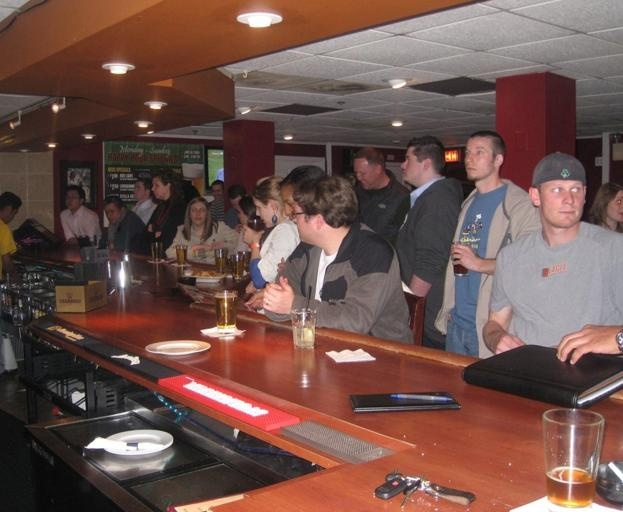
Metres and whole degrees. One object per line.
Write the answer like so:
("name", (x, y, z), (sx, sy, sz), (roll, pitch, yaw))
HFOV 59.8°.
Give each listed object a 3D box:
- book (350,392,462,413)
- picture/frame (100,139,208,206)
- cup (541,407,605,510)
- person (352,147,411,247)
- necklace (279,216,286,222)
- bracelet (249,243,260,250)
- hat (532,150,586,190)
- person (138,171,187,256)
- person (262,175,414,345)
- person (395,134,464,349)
("book", (0.255, 0.406, 1.515), (0.292, 0.027, 0.108), (-2, 5, -5))
("picture/frame", (-3.237, -1.656, 10.503), (3.105, 1.264, 0.155), (-6, 16, -33))
("cup", (0.507, 0.380, 1.050), (0.104, 0.158, 0.195), (1, 6, 23))
("person", (0.599, -0.541, 4.718), (0.491, 0.953, 0.462), (2, 13, -15))
("necklace", (-0.205, -0.265, 3.852), (0.064, 0.037, 0.057), (1, -7, -1))
("bracelet", (-0.427, -0.072, 4.043), (0.066, 0.037, 0.057), (0, -6, 4))
("hat", (1.008, -0.352, 2.187), (0.242, 0.127, 0.235), (2, 8, 18))
("person", (-1.659, -0.506, 6.127), (0.471, 1.007, 0.486), (-3, 13, -38))
("person", (0.105, 0.022, 2.515), (0.593, 0.815, 0.566), (0, 13, -31))
("person", (0.752, -0.082, 3.643), (0.524, 1.431, 0.522), (5, 11, -9))
